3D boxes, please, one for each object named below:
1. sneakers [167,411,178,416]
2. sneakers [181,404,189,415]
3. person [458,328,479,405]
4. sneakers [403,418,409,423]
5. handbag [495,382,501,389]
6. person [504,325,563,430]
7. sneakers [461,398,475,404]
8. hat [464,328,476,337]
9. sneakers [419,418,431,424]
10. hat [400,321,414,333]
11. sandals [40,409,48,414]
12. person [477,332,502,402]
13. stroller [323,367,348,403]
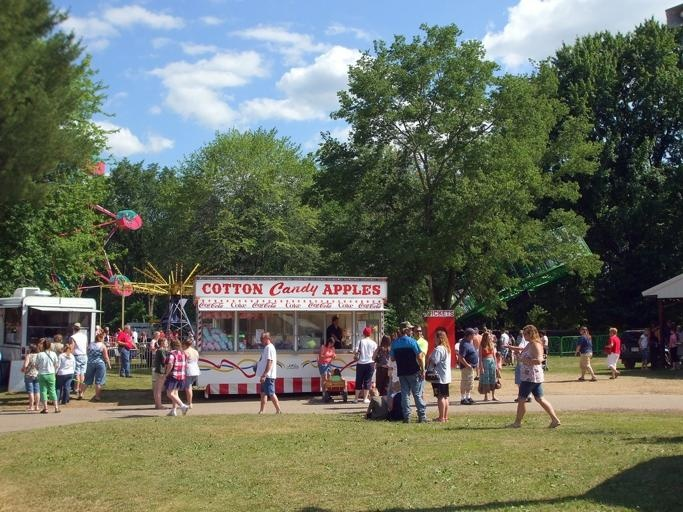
[{"bbox_3d":[-5.378,5.025,29.356,0.249,0.186,0.149,0,-9,23],"label":"sneakers"},{"bbox_3d":[-5.003,4.951,29.584,0.168,0.142,0.412,29,-28,10],"label":"sneakers"},{"bbox_3d":[4.252,3.728,31.000,0.656,2.490,1.125,-3,-8,7],"label":"person"},{"bbox_3d":[1.935,4.915,27.538,0.122,0.134,0.101,-3,-7,8],"label":"sneakers"},{"bbox_3d":[5.455,4.500,32.030,0.148,0.213,0.218,1,-23,-2],"label":"handbag"},{"bbox_3d":[5.451,3.449,26.378,1.343,2.856,0.973,1,-7,4],"label":"person"},{"bbox_3d":[4.260,4.908,31.060,0.501,0.219,0.174,0,-2,-22],"label":"sneakers"},{"bbox_3d":[4.258,2.557,30.835,0.259,0.217,0.449,2,-5,26],"label":"hat"},{"bbox_3d":[2.467,4.898,27.322,0.333,0.172,0.132,-6,1,8],"label":"sneakers"},{"bbox_3d":[1.995,2.192,27.969,0.413,0.252,0.312,-7,6,-24],"label":"hat"},{"bbox_3d":[-9.688,5.075,30.109,0.100,0.128,0.289,5,-5,-42],"label":"sandals"},{"bbox_3d":[5.103,3.823,32.078,0.691,2.397,1.474,-3,-8,9],"label":"person"},{"bbox_3d":[-0.187,4.557,32.526,0.604,0.835,1.208,1,-4,0],"label":"stroller"}]
